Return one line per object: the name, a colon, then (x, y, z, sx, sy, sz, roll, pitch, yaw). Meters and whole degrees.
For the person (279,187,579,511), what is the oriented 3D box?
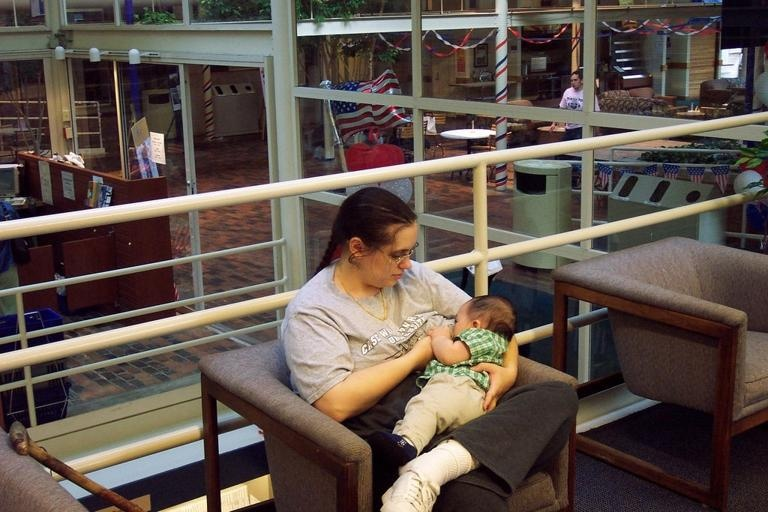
person: (0.105, 0.207, 2.082, 0.960, 0.854, 0.967, 0, 11, 40)

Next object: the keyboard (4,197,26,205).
keyboard: (-5.411, -0.799, 9.340, 0.286, 0.086, 0.490, -10, 15, -29)

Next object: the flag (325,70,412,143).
flag: (-0.207, -1.692, 7.269, 0.952, 0.662, 0.130, -23, 26, -28)

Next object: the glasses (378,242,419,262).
glasses: (0.036, -0.012, 1.924, 0.134, 0.035, 0.133, -1, 12, 37)
